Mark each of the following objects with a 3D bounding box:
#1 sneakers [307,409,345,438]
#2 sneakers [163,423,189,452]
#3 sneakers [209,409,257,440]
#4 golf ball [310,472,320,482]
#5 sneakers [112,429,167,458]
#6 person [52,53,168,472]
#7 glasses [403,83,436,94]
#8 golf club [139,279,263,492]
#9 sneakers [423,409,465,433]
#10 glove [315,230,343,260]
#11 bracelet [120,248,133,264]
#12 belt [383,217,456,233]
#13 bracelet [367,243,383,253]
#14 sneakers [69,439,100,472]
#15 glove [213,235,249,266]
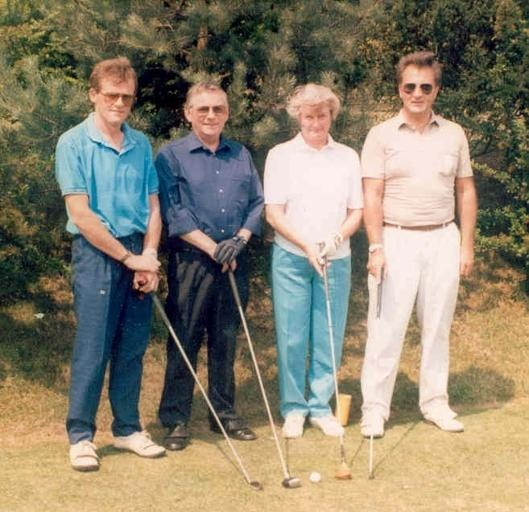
[{"bbox_3d":[0.438,1.186,7.811,0.276,0.112,0.106,13,19,40],"label":"sneakers"},{"bbox_3d":[-0.615,1.239,7.534,0.155,0.152,0.381,2,2,-3],"label":"sneakers"},{"bbox_3d":[-0.277,1.196,7.811,0.429,0.173,0.142,2,14,34],"label":"sneakers"},{"bbox_3d":[0.323,1.415,7.137,0.074,0.044,0.133,2,16,2],"label":"golf ball"},{"bbox_3d":[-0.856,1.253,7.371,0.308,0.126,0.157,3,3,25],"label":"sneakers"},{"bbox_3d":[-1.027,0.050,7.240,0.679,2.589,1.005,-1,17,-6],"label":"person"},{"bbox_3d":[1.070,-1.168,7.688,0.195,0.080,0.044,3,17,7],"label":"glasses"},{"bbox_3d":[-0.475,0.932,7.713,0.172,1.451,0.112,-32,1,-34],"label":"golf club"},{"bbox_3d":[1.271,1.148,7.864,0.250,0.110,0.130,15,33,43],"label":"sneakers"},{"bbox_3d":[0.442,-0.059,7.572,0.064,0.183,0.134,32,15,-13],"label":"glove"},{"bbox_3d":[-0.907,0.000,7.179,0.034,0.082,0.063,40,4,1],"label":"bracelet"},{"bbox_3d":[1.083,-0.216,7.789,0.491,0.066,0.096,2,16,2],"label":"belt"},{"bbox_3d":[0.776,-0.051,7.747,0.087,0.076,0.057,3,16,5],"label":"bracelet"},{"bbox_3d":[-1.182,1.284,7.176,0.196,0.173,0.236,-2,16,-10],"label":"sneakers"},{"bbox_3d":[-0.237,-0.047,7.496,0.228,0.129,0.069,-42,4,-36],"label":"glove"}]
